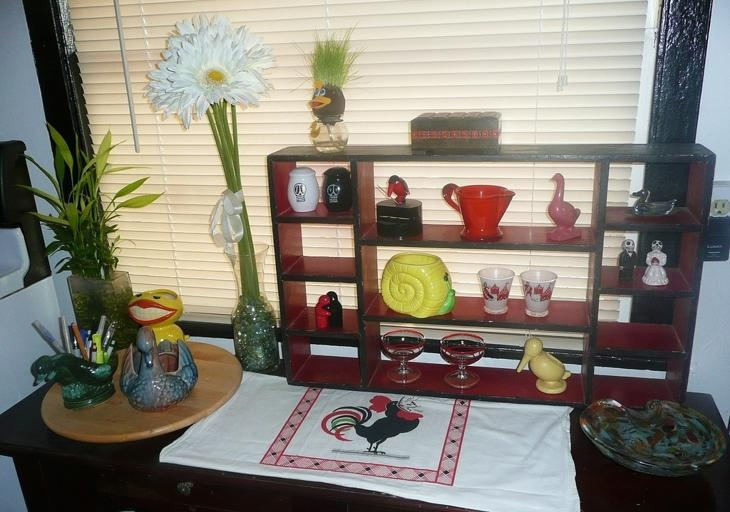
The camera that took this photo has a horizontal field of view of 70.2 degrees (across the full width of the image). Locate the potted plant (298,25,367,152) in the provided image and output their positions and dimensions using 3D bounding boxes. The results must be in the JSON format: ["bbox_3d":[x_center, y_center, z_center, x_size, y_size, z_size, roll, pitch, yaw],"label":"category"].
[{"bbox_3d":[-0.110,-0.561,1.758,0.185,0.384,0.296,-1,21,1],"label":"potted plant"}]

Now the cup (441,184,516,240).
[{"bbox_3d":[0.368,-0.145,1.627,0.254,0.154,0.184,1,17,9],"label":"cup"}]

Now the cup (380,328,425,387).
[{"bbox_3d":[0.109,0.361,1.909,0.199,0.179,0.176,-1,16,0],"label":"cup"}]

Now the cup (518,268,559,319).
[{"bbox_3d":[0.550,0.122,1.754,0.160,0.148,0.147,-1,16,0],"label":"cup"}]

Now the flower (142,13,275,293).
[{"bbox_3d":[-0.511,-0.360,1.853,0.410,0.910,0.362,-5,21,-8],"label":"flower"}]

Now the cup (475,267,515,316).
[{"bbox_3d":[0.436,0.117,1.797,0.161,0.151,0.149,1,21,0],"label":"cup"}]

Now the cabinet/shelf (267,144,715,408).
[{"bbox_3d":[0.456,0.062,1.734,1.035,0.555,0.188,2,22,11],"label":"cabinet/shelf"}]

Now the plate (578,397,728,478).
[{"bbox_3d":[0.846,0.531,1.539,0.360,0.105,0.280,14,24,36],"label":"plate"}]
